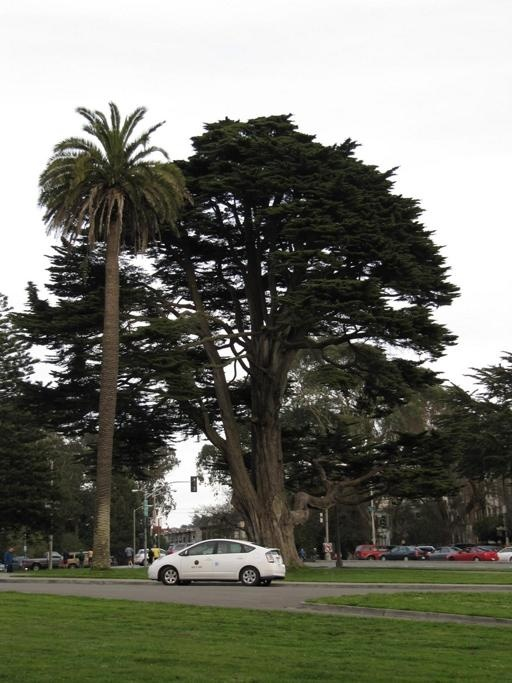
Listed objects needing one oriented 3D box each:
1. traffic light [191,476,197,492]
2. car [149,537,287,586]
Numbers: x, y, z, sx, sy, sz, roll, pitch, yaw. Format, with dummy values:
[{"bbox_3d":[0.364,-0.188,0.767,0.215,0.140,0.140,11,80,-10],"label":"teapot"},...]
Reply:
[{"bbox_3d":[-3.414,7.852,57.732,0.268,0.728,0.508,1,-13,-19],"label":"traffic light"},{"bbox_3d":[-0.978,5.529,26.196,3.024,0.747,1.333,-1,-16,14],"label":"car"}]
